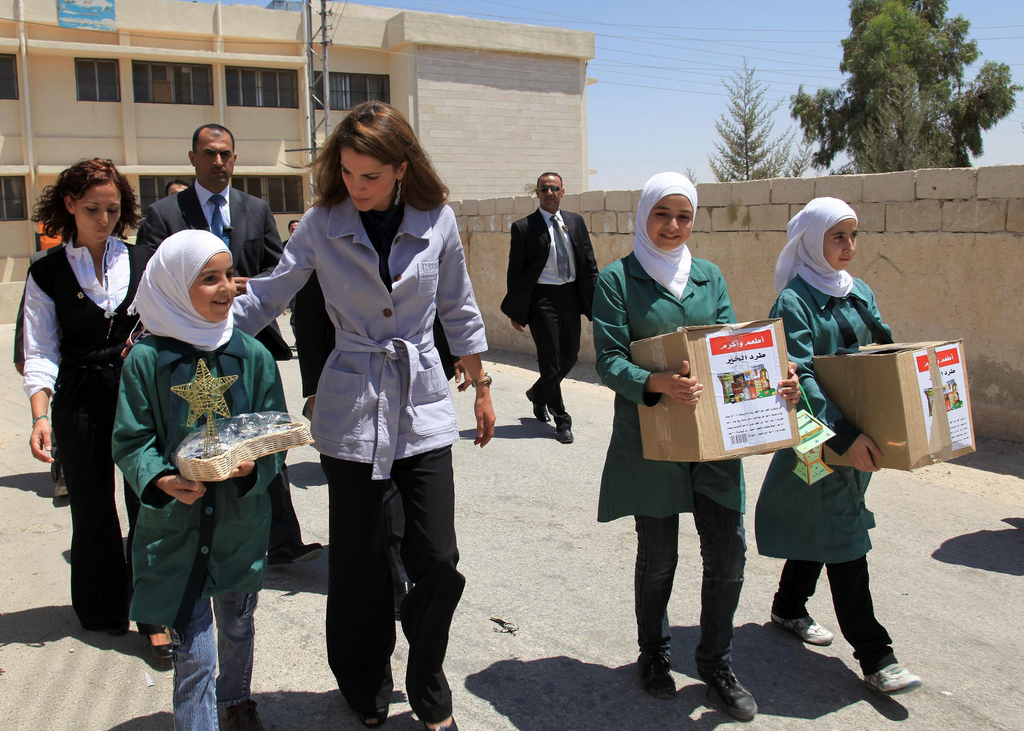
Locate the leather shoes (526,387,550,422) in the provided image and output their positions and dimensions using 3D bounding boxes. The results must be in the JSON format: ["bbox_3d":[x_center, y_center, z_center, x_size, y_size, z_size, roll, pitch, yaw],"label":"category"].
[{"bbox_3d":[0.240,0.360,10.246,0.170,0.477,0.217,-18,-33,-9],"label":"leather shoes"}]

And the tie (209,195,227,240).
[{"bbox_3d":[-1.962,-0.977,6.109,0.128,0.338,0.047,-9,-22,-5],"label":"tie"}]

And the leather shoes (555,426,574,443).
[{"bbox_3d":[0.500,0.712,9.468,0.167,0.147,0.387,-1,-1,-8],"label":"leather shoes"}]

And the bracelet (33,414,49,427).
[{"bbox_3d":[-2.559,0.295,4.981,0.062,0.041,0.038,-11,-3,38],"label":"bracelet"}]

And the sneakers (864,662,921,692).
[{"bbox_3d":[2.000,1.643,4.897,0.125,0.101,0.247,-2,-11,-36],"label":"sneakers"}]

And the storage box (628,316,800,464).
[{"bbox_3d":[1.024,0.132,4.831,0.726,0.659,0.547,-6,-4,-36],"label":"storage box"}]

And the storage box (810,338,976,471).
[{"bbox_3d":[2.045,0.195,5.145,0.696,0.609,0.671,-8,2,-41],"label":"storage box"}]

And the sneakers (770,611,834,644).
[{"bbox_3d":[1.715,1.554,5.517,0.128,0.129,0.337,-8,7,-38],"label":"sneakers"}]

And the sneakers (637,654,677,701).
[{"bbox_3d":[0.766,1.661,4.950,0.117,0.118,0.284,0,-1,-7],"label":"sneakers"}]

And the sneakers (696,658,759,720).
[{"bbox_3d":[1.133,1.681,4.806,0.171,0.164,0.423,-14,10,-18],"label":"sneakers"}]
